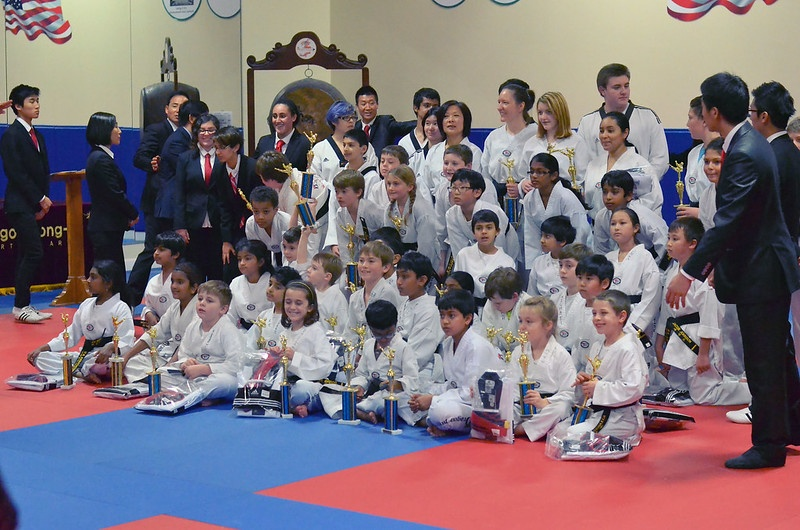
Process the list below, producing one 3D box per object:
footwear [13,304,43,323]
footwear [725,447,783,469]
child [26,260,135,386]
[{"bbox_3d":[-4.217,0.577,9.174,0.349,0.154,0.140,1,4,19],"label":"footwear"},{"bbox_3d":[2.341,1.289,5.378,0.311,0.130,0.151,0,-5,10],"label":"footwear"},{"bbox_3d":[-2.821,0.526,7.323,0.878,1.043,0.770,0,1,6],"label":"child"}]
